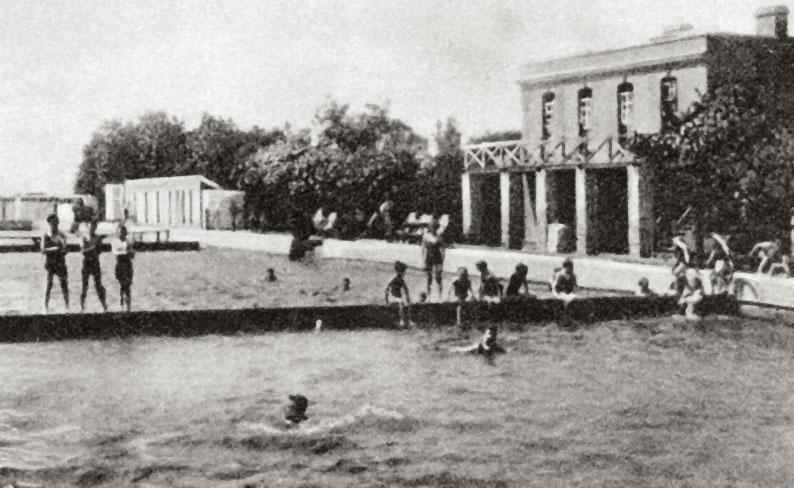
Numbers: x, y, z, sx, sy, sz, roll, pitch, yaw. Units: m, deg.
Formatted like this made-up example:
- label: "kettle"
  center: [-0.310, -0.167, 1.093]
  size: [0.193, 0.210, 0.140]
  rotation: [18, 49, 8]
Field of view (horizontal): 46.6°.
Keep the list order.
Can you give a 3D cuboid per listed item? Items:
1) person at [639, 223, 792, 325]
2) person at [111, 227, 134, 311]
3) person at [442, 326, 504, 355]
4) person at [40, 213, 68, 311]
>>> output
- label: "person"
  center: [5.266, 0.512, 14.749]
  size: [1.772, 1.294, 0.753]
  rotation: [1, 1, 13]
- label: "person"
  center: [-4.295, 0.374, 14.417]
  size: [0.331, 1.331, 0.571]
  rotation: [0, 1, -17]
- label: "person"
  center: [1.254, 1.464, 14.211]
  size: [0.712, 0.323, 0.443]
  rotation: [-1, 1, 1]
- label: "person"
  center: [-5.338, 0.291, 14.405]
  size: [0.397, 1.501, 0.551]
  rotation: [0, 1, -23]
